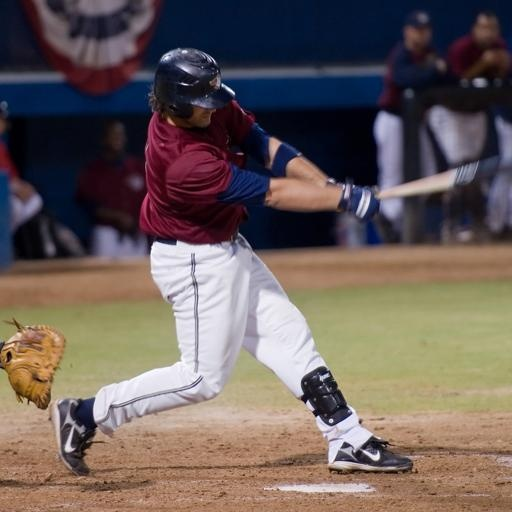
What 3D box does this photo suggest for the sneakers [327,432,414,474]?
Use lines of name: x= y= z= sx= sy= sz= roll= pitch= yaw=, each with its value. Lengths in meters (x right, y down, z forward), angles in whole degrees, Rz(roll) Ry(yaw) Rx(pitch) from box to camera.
sneakers: x=0.414 y=0.733 z=3.889 sx=0.333 sy=0.122 sz=0.120 roll=0 pitch=-4 yaw=-1

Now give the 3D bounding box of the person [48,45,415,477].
person: x=-0.107 y=0.024 z=3.862 sx=1.282 sy=1.554 sz=0.462 roll=-2 pitch=11 yaw=6

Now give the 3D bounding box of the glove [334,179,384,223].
glove: x=0.373 y=-0.186 z=3.726 sx=0.078 sy=0.087 sz=0.226 roll=-16 pitch=14 yaw=-35

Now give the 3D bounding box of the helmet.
helmet: x=-0.211 y=-0.630 z=3.770 sx=0.314 sy=0.175 sz=0.215 roll=15 pitch=40 yaw=27
